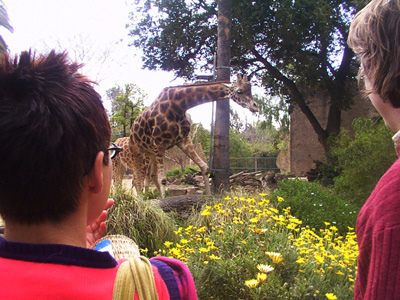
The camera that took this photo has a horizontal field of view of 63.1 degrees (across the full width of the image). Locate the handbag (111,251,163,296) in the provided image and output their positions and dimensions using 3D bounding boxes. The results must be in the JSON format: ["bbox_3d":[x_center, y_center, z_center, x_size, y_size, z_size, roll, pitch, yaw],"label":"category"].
[{"bbox_3d":[-0.200,0.397,1.061,0.131,0.146,0.104,5,-9,-18],"label":"handbag"}]

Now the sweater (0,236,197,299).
[{"bbox_3d":[-0.314,0.387,1.044,0.618,0.200,0.184,5,-12,-22],"label":"sweater"}]

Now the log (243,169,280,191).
[{"bbox_3d":[2.033,1.000,10.750,0.757,0.519,1.239,4,3,16],"label":"log"}]
